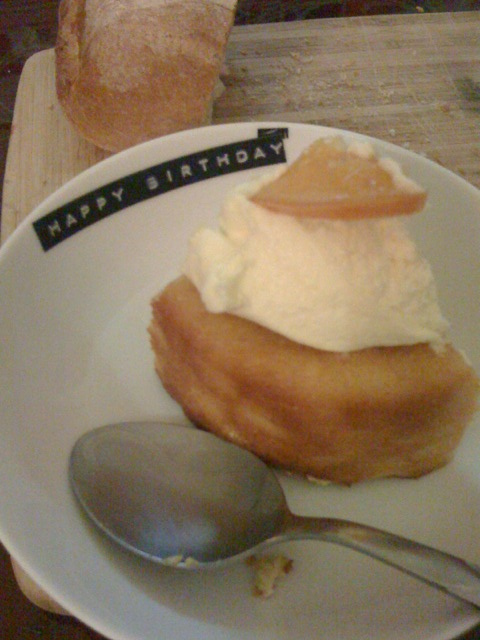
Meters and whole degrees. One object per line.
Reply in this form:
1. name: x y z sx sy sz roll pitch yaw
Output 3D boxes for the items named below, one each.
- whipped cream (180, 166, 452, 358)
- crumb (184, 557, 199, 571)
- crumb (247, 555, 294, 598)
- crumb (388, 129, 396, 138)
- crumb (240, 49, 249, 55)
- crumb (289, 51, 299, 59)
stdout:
1. whipped cream: 0.086 -0.046 0.706 0.271 0.057 0.154 22 73 8
2. crumb: -0.044 0.223 0.677 0.011 0.004 0.012 6 16 -19
3. crumb: 0.026 0.237 0.679 0.037 0.008 0.030 5 51 1
4. crumb: 0.209 -0.260 1.021 0.010 0.003 0.014 1 71 1
5. crumb: 0.007 -0.400 1.098 0.008 0.002 0.007 -30 59 -25
6. crumb: 0.079 -0.392 1.084 0.010 0.004 0.013 -22 56 -28
